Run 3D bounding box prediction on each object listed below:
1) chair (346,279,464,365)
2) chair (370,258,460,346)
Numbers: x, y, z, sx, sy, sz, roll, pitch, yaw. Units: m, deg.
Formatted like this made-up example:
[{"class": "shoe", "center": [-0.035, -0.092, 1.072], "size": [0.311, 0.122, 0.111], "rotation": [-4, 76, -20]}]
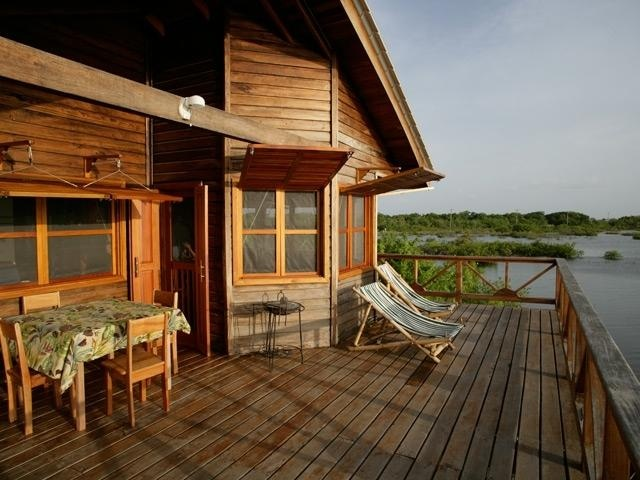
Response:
[{"class": "chair", "center": [1.385, 1.095, 8.103], "size": [1.425, 0.597, 0.783], "rotation": [3, 10, 33]}, {"class": "chair", "center": [1.711, 0.971, 8.375], "size": [1.845, 0.793, 1.023], "rotation": [7, 10, 18]}]
